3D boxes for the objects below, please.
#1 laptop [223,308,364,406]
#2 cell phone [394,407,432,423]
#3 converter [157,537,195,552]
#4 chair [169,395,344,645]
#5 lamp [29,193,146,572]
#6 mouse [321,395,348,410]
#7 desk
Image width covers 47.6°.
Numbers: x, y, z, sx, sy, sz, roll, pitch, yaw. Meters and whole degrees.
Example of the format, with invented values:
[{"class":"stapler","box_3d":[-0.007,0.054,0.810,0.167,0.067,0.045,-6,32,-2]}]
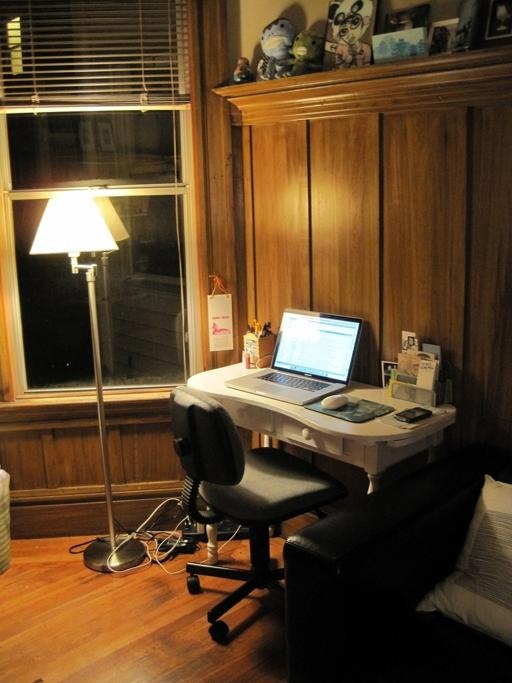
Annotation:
[{"class":"laptop","box_3d":[0.170,0.069,2.304,0.273,0.384,0.436,15,-1,-39]},{"class":"cell phone","box_3d":[0.513,0.245,1.903,0.077,0.021,0.151,7,12,45]},{"class":"converter","box_3d":[-0.365,0.911,2.596,0.126,0.028,0.071,1,4,-3]},{"class":"chair","box_3d":[0.007,0.571,2.079,0.587,0.777,0.552,-5,8,-27]},{"class":"lamp","box_3d":[-0.705,0.156,2.512,0.372,1.601,0.503,-4,9,-12]},{"class":"mouse","box_3d":[0.258,0.205,1.986,0.068,0.021,0.046,-18,25,-32]},{"class":"desk","box_3d":[0.089,0.453,2.151,0.895,0.445,0.463,13,-2,21]}]
